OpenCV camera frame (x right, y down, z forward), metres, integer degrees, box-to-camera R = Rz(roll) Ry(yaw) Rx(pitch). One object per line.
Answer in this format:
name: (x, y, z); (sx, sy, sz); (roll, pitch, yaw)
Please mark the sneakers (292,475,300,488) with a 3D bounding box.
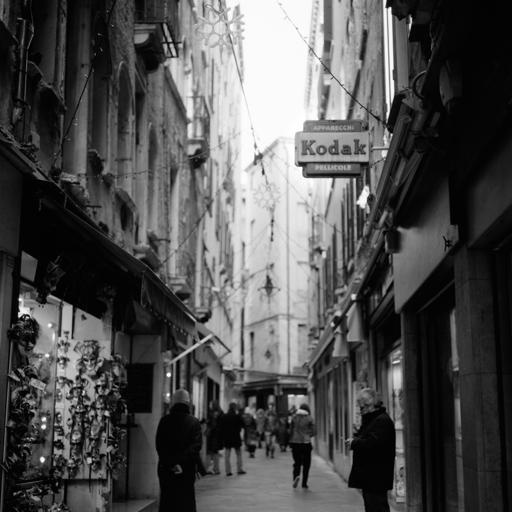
sneakers: (0.753, 4.314, 16.797); (0.072, 0.316, 0.100); (11, 6, 0)
